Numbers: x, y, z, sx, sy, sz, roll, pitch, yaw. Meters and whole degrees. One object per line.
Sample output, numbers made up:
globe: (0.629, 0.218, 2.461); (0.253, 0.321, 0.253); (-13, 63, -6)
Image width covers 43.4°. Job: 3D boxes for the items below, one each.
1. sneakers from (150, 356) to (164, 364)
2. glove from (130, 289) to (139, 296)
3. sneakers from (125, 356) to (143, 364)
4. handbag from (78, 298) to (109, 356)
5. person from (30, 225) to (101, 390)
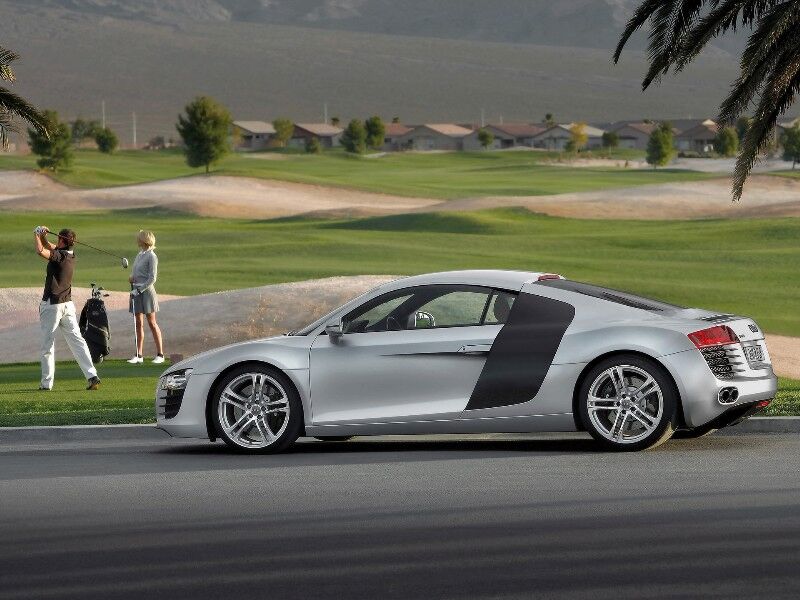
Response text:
sneakers: (-4.078, 1.001, 16.876); (0.152, 0.126, 0.304); (0, -8, 8)
glove: (-4.415, -0.127, 16.585); (0.103, 0.099, 0.127); (1, 4, -2)
sneakers: (-4.558, 1.005, 16.920); (0.354, 0.164, 0.124); (4, 1, 16)
handbag: (-5.058, 0.467, 16.495); (0.505, 0.978, 0.768); (-6, 25, -15)
person: (-4.896, 0.116, 14.529); (0.794, 2.366, 0.898); (-4, 5, -19)
